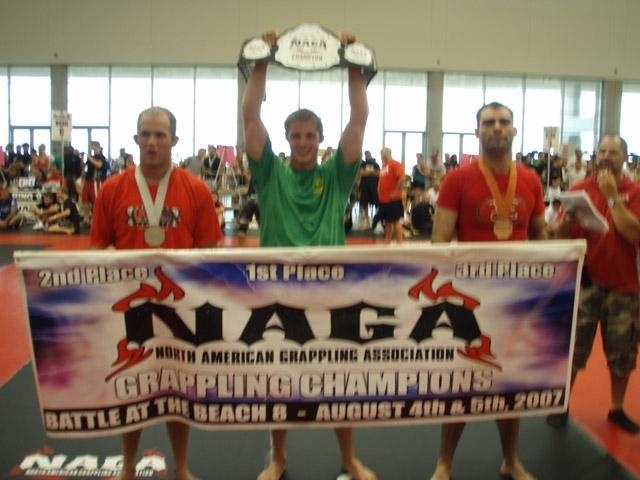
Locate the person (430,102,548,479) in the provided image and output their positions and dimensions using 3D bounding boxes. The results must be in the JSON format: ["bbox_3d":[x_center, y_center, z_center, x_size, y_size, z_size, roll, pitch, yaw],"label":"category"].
[{"bbox_3d":[1.210,0.360,4.686,0.824,2.649,0.591,1,6,6],"label":"person"}]
